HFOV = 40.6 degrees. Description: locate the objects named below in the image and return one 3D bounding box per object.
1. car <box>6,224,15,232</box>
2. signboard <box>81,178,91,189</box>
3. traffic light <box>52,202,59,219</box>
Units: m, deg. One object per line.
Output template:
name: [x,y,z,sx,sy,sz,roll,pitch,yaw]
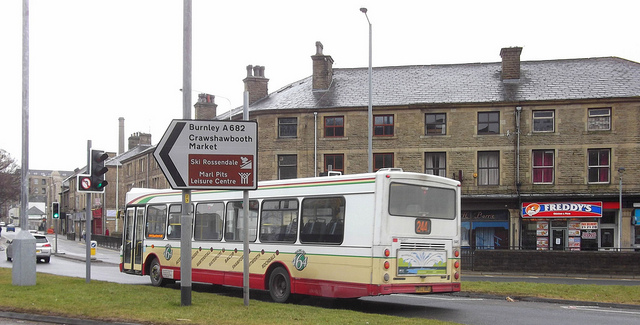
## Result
car: [-56.817,11.801,158.753,1.519,0.966,2.966,2,-1,-10]
signboard: [-16.571,1.452,61.184,0.679,0.714,0.333,1,11,-7]
traffic light: [-22.931,4.097,74.963,0.524,1.327,1.599,-1,11,-17]
